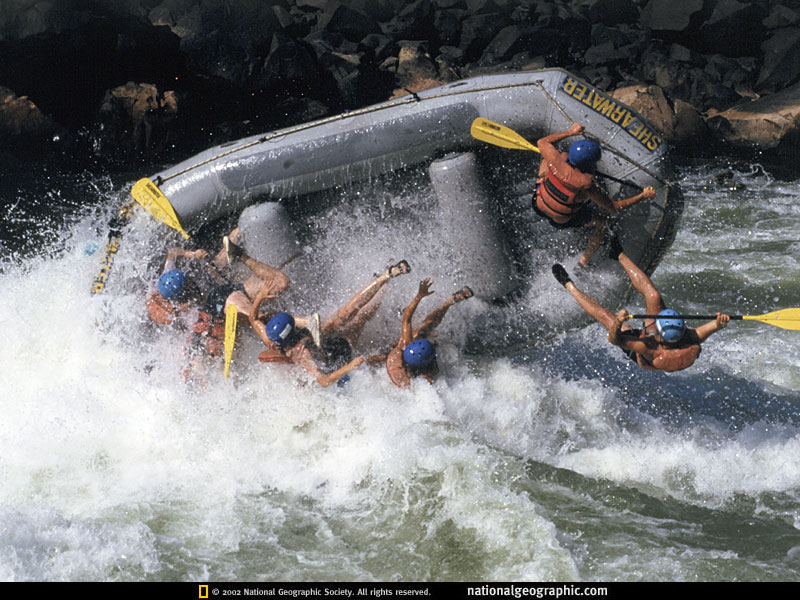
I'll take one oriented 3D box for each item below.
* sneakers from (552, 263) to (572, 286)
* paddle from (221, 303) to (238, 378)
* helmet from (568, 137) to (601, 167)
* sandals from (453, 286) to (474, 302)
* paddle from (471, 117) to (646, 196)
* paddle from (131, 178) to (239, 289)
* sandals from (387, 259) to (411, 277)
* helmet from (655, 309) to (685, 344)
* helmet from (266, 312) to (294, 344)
[{"bbox_3d":[2.141,-0.327,13.654,0.142,0.171,0.405,-37,104,7],"label":"sneakers"},{"bbox_3d":[-2.346,0.554,14.227,0.220,0.095,0.985,3,91,1],"label":"paddle"},{"bbox_3d":[2.353,-1.876,13.147,0.423,0.182,0.322,-9,72,6],"label":"helmet"},{"bbox_3d":[0.860,-0.081,13.947,0.265,0.109,0.165,-26,79,19],"label":"sandals"},{"bbox_3d":[2.137,-1.899,13.479,2.958,0.137,0.496,20,99,16],"label":"paddle"},{"bbox_3d":[-3.184,-1.133,14.205,0.392,0.059,1.302,-42,87,-2],"label":"paddle"},{"bbox_3d":[-0.016,-0.445,13.713,0.278,0.357,0.265,-10,72,7],"label":"sandals"},{"bbox_3d":[3.415,0.353,12.995,0.301,0.329,0.406,-17,81,8],"label":"helmet"},{"bbox_3d":[-1.602,0.358,13.835,0.305,0.326,0.427,18,62,4],"label":"helmet"}]
